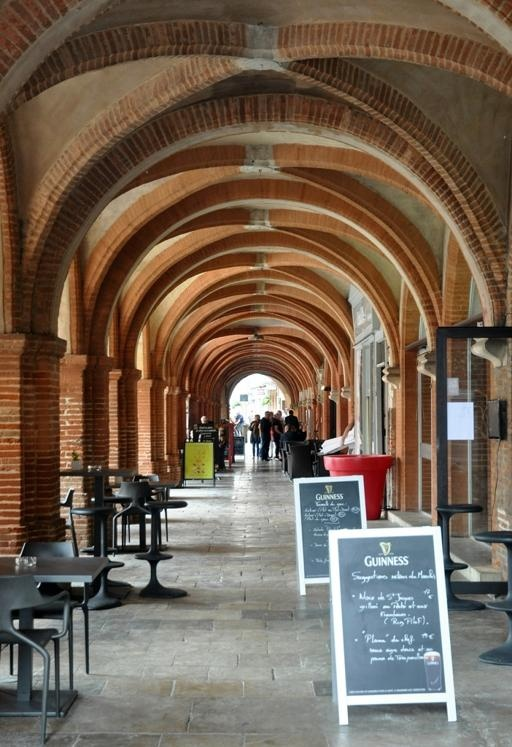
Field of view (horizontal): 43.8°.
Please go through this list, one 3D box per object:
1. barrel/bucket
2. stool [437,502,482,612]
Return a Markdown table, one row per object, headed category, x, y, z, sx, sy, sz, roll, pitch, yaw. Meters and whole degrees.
| category | x | y | z | sx | sy | sz | roll | pitch | yaw |
| --- | --- | --- | --- | --- | --- | --- | --- | --- | --- |
| barrel/bucket | 1.614 | 1.651 | 10.217 | 1.206 | 1.198 | 1.215 | -1 | -7 | 0 |
| stool | 1.665 | 1.556 | 5.543 | 0.511 | 0.899 | 0.515 | 8 | -10 | -41 |
